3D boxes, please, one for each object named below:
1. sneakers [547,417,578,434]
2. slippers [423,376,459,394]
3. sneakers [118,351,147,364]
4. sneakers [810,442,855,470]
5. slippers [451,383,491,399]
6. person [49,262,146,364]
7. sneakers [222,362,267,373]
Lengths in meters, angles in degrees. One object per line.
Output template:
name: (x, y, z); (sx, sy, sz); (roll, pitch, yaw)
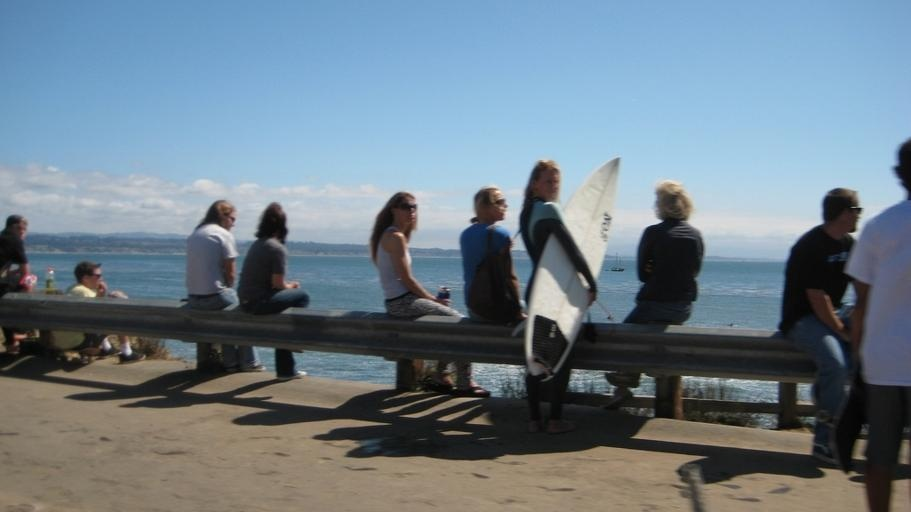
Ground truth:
sneakers: (1.177, 1.917, 7.980); (0.402, 0.129, 0.130); (-1, 0, -11)
slippers: (-0.209, 1.683, 9.262); (0.372, 0.102, 0.188); (12, 0, 3)
sneakers: (-4.827, 1.538, 10.663); (0.402, 0.132, 0.147); (-1, 1, -27)
sneakers: (3.742, 2.011, 7.074); (0.216, 0.227, 0.585); (23, 2, 6)
slippers: (0.182, 1.764, 9.162); (0.504, 0.151, 0.159); (-3, -8, 8)
person: (-5.425, 0.879, 10.900); (1.299, 1.483, 1.245); (-2, 15, -7)
sneakers: (-2.959, 1.575, 9.912); (0.545, 0.175, 0.161); (-3, -4, -12)
